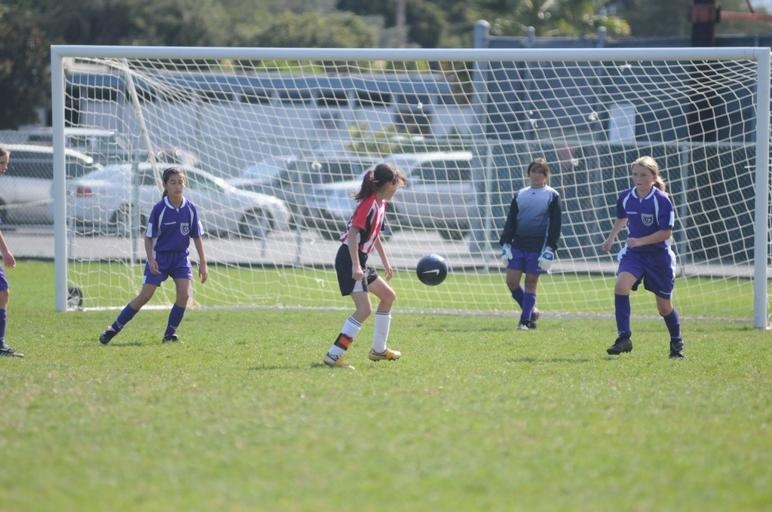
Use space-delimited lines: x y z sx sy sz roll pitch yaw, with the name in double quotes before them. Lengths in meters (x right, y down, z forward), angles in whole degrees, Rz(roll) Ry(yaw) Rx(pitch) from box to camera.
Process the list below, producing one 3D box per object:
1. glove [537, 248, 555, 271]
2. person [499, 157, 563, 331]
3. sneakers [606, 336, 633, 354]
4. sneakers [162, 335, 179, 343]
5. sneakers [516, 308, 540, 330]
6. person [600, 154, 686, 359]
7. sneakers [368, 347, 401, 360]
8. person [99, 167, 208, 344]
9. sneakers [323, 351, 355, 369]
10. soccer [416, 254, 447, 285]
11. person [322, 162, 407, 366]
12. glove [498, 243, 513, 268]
"glove" 2.114 0.064 13.489 0.270 0.272 0.117 21 -2 22
"person" 1.887 -0.151 13.552 0.772 2.209 0.629 2 13 8
"sneakers" 2.751 1.072 12.092 0.142 0.174 0.397 1 1 45
"sneakers" -2.646 1.029 12.596 0.171 0.112 0.088 7 -7 -6
"sneakers" 1.888 0.882 13.690 0.143 0.252 0.400 1 -6 27
"person" 3.073 0.016 12.113 0.980 2.318 0.834 3 13 12
"sneakers" -0.023 1.121 11.839 0.380 0.178 0.136 -3 8 -8
"person" -2.835 -0.017 12.669 1.196 2.146 0.814 -4 14 -15
"sneakers" -0.554 1.188 11.626 0.428 0.178 0.142 7 2 -5
"soccer" 0.581 0.200 13.170 0.372 0.398 0.221 -1 13 -4
"person" -0.238 0.112 11.644 0.879 2.294 0.727 0 13 2
"glove" 1.608 -0.013 13.670 0.198 0.254 0.078 -5 -7 26
